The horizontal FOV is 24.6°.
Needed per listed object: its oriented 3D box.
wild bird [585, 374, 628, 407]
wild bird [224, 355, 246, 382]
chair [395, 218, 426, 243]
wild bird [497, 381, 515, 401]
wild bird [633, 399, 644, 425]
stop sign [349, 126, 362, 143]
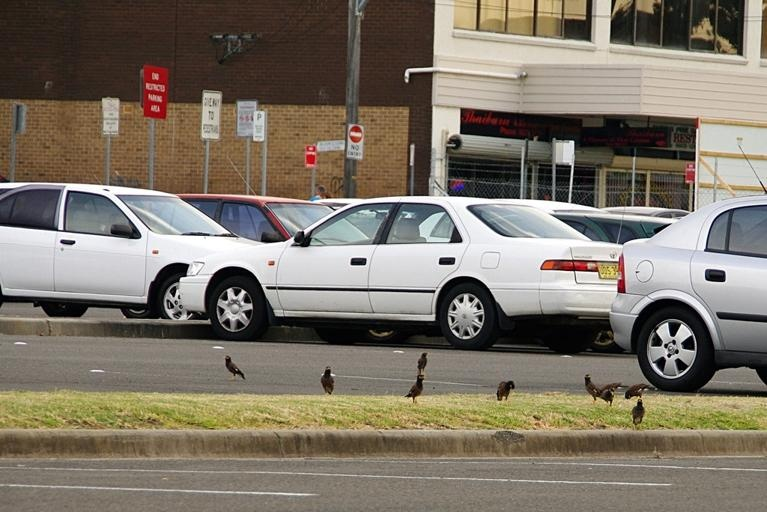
[{"bbox_3d":[2.881,1.745,23.336,0.438,0.348,0.477,2,3,15],"label":"wild bird"},{"bbox_3d":[-2.066,1.542,24.627,0.177,0.327,0.503,0,-16,32],"label":"wild bird"},{"bbox_3d":[0.433,-0.418,27.957,0.431,0.425,0.382,2,-6,-9],"label":"chair"},{"bbox_3d":[1.640,1.708,23.411,0.113,0.251,0.445,6,15,25],"label":"wild bird"},{"bbox_3d":[3.267,1.977,22.617,0.146,0.324,0.245,1,3,8],"label":"wild bird"},{"bbox_3d":[-0.628,-2.673,38.058,0.363,0.381,0.062,0,9,-32],"label":"stop sign"}]
